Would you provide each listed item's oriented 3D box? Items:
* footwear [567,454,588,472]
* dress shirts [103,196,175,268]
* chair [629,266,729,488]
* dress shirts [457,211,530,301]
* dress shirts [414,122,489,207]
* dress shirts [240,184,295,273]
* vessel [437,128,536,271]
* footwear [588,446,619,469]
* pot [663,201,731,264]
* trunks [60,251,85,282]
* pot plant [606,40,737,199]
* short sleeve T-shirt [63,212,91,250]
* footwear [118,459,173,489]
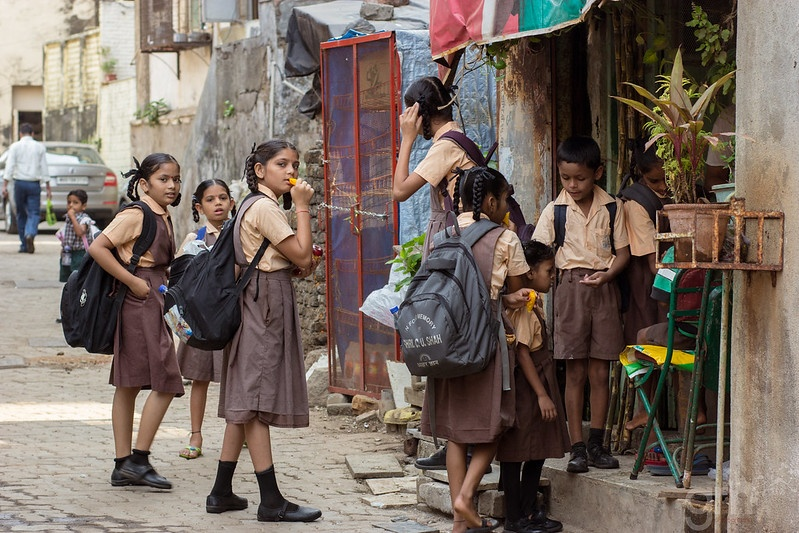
[{"bbox_3d":[1.275,1.412,8.757,0.150,0.131,0.113,0,-1,6],"label":"footwear"},{"bbox_3d":[-1.960,-0.266,9.489,0.564,0.634,0.434,4,0,-6],"label":"dress shirts"},{"bbox_3d":[1.925,0.757,8.666,0.659,1.481,0.914,0,-1,19],"label":"chair"},{"bbox_3d":[0.507,-0.073,8.284,0.413,0.614,0.587,8,15,43],"label":"dress shirts"},{"bbox_3d":[0.384,-0.750,9.166,0.535,0.729,0.586,-1,2,7],"label":"dress shirts"},{"bbox_3d":[-0.924,-0.322,8.843,0.419,0.756,0.773,-5,6,-16],"label":"dress shirts"},{"bbox_3d":[0.707,-0.597,9.113,0.888,0.895,0.573,-14,14,-5],"label":"vessel"},{"bbox_3d":[1.471,1.381,8.852,0.218,0.155,0.143,0,-1,7],"label":"footwear"},{"bbox_3d":[1.873,-0.213,7.710,0.353,0.287,0.366,0,-2,0],"label":"pot"},{"bbox_3d":[-3.411,-0.024,12.705,0.257,0.376,0.204,9,13,21],"label":"trunks"},{"bbox_3d":[1.967,-0.944,8.558,0.599,1.071,1.154,0,-1,11],"label":"pot plant"},{"bbox_3d":[-3.727,-0.402,14.079,0.457,0.466,0.264,-7,-9,44],"label":"short sleeve T-shirt"},{"bbox_3d":[-1.939,1.555,9.361,0.452,0.201,0.188,19,-6,0],"label":"footwear"}]
